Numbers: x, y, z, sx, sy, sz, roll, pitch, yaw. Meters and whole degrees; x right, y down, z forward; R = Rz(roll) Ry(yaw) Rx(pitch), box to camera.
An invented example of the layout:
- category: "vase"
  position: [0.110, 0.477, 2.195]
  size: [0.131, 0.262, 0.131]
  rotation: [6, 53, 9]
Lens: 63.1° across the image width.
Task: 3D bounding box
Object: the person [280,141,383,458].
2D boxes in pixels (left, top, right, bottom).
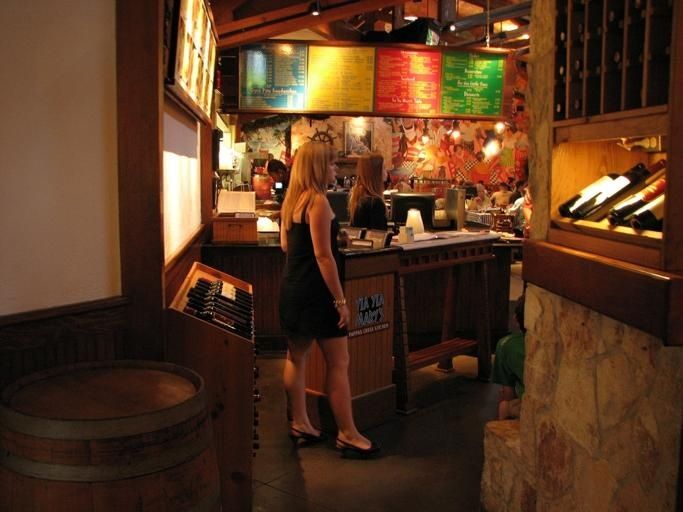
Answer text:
- category: "person"
  position: [-0.105, 0.269, 3.423]
  size: [0.614, 1.924, 0.464]
  rotation: [3, 7, 15]

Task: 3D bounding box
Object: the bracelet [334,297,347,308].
- category: "bracelet"
  position: [-0.012, 0.271, 3.217]
  size: [0.056, 0.035, 0.077]
  rotation: [-1, -2, -8]

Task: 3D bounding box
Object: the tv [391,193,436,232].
- category: "tv"
  position: [0.714, -0.530, 5.682]
  size: [0.529, 0.536, 0.311]
  rotation: [2, 13, 7]

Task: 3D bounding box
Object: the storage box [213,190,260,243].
- category: "storage box"
  position: [-0.940, -0.346, 4.869]
  size: [0.376, 0.426, 0.489]
  rotation: [-1, 8, -14]

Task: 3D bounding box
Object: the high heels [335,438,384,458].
- category: "high heels"
  position: [0.107, 1.205, 3.438]
  size: [0.211, 0.096, 0.119]
  rotation: [-6, -3, 7]

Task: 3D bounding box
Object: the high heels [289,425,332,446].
- category: "high heels"
  position: [-0.199, 1.145, 3.643]
  size: [0.283, 0.160, 0.107]
  rotation: [-4, 1, -14]

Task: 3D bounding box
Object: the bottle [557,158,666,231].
- category: "bottle"
  position: [1.008, -0.227, 2.087]
  size: [0.513, 0.142, 0.135]
  rotation: [-31, 0, -24]
